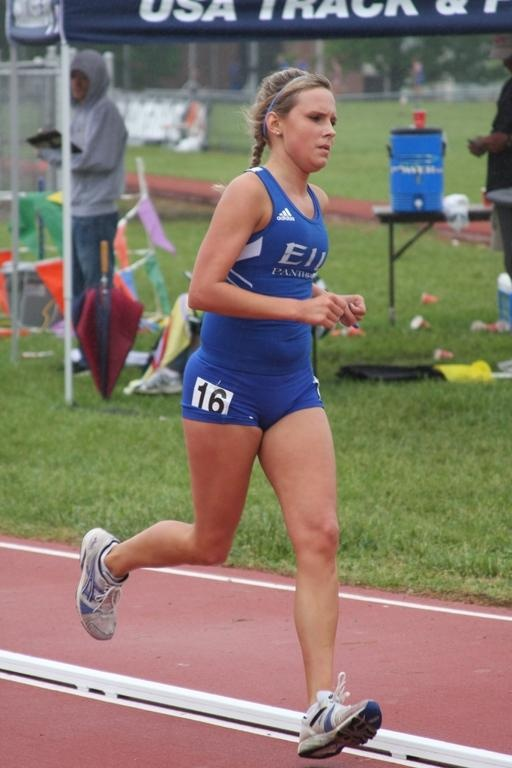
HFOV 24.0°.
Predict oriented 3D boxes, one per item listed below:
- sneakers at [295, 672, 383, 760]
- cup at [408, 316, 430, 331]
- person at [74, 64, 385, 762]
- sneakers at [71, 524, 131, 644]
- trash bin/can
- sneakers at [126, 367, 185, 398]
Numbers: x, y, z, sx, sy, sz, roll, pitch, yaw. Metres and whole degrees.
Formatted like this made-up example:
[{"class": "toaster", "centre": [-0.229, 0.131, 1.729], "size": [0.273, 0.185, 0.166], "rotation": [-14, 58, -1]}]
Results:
[{"class": "sneakers", "centre": [0.195, 0.887, 3.065], "size": [0.157, 0.259, 0.281], "rotation": [0, 6, -18]}, {"class": "cup", "centre": [0.775, -0.281, 5.680], "size": [0.063, 0.064, 0.048], "rotation": [4, 0, 38]}, {"class": "person", "centre": [0.011, 0.064, 3.333], "size": [0.471, 1.866, 1.099], "rotation": [-3, 8, -43]}, {"class": "sneakers", "centre": [-0.482, 0.610, 3.728], "size": [0.169, 0.363, 0.131], "rotation": [-15, -14, 38]}, {"class": "trash bin/can", "centre": [0.833, -1.106, 6.243], "size": [0.288, 0.422, 0.272], "rotation": [2, 11, 15]}, {"class": "sneakers", "centre": [-0.581, 0.008, 7.128], "size": [0.383, 0.165, 0.135], "rotation": [0, 0, -12]}]
